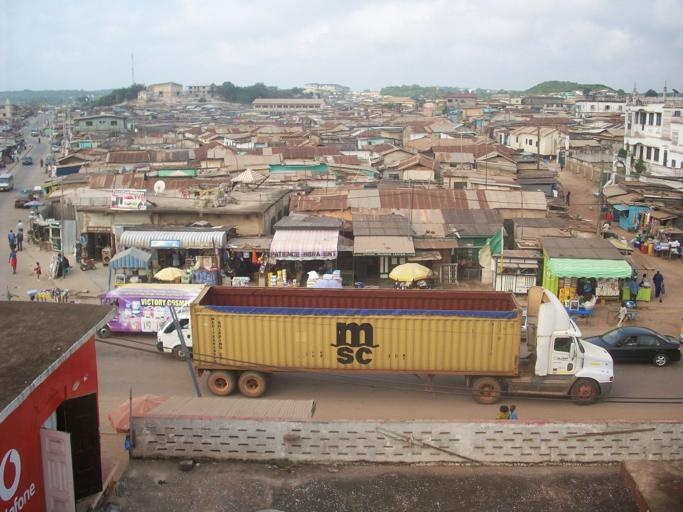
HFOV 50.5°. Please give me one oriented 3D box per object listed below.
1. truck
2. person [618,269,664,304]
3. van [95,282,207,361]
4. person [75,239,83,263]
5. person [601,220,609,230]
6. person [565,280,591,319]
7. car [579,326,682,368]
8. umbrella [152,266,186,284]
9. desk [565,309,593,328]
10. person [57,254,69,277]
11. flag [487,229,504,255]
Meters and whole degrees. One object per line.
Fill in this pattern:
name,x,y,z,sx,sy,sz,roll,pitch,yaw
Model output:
truck,1.390,2.253,18.180,12.395,3.027,2.443,0,13,2
person,10.507,1.036,25.183,1.636,1.090,0.678,-8,11,-31
van,-5.619,1.859,21.610,3.122,1.266,1.822,1,8,0
person,-11.034,-0.141,30.433,0.300,0.846,1.016,-7,10,-19
person,12.537,-1.401,34.385,0.519,0.335,0.936,0,12,19
person,8.011,1.433,24.310,1.047,0.868,1.363,3,34,8
car,8.098,2.515,20.310,2.542,0.757,1.053,3,13,0
umbrella,-5.795,0.749,24.792,0.818,0.326,0.771,-2,7,5
desk,7.675,1.963,23.347,0.662,0.402,0.882,1,10,7
person,-11.065,0.351,28.767,0.462,0.802,0.704,-6,10,-18
flag,5.961,-0.592,27.939,0.575,0.817,0.847,-1,9,10
